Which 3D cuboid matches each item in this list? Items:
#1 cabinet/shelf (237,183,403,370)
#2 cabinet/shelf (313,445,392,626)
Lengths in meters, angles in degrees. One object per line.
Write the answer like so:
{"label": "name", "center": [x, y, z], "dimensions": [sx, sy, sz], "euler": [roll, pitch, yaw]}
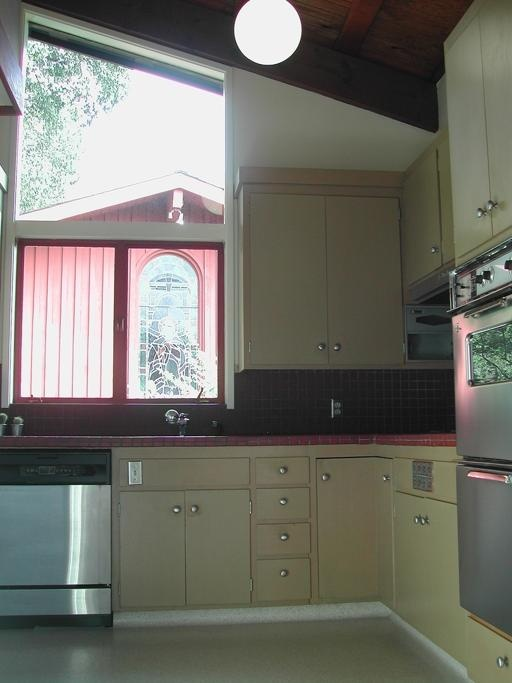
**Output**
{"label": "cabinet/shelf", "center": [0.342, -0.332, 3.339], "dimensions": [0.928, 1.103, 0.415], "euler": [1, -8, -6]}
{"label": "cabinet/shelf", "center": [0.462, 0.868, 2.764], "dimensions": [0.369, 0.658, 0.206], "euler": [-4, -8, 21]}
